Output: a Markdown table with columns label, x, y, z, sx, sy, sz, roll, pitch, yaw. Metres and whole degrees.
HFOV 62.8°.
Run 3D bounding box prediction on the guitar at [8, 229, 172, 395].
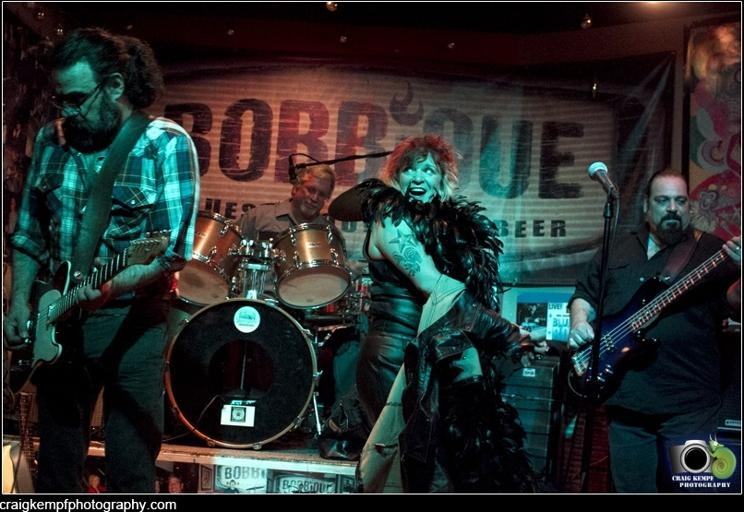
| label | x | y | z | sx | sy | sz | roll | pitch | yaw |
| --- | --- | --- | --- | --- | --- | --- | --- | --- | --- |
| guitar | -1.434 | 0.276 | 3.093 | 0.861 | 0.863 | 0.233 | 2 | 0 | 22 |

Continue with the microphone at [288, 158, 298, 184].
| label | x | y | z | sx | sy | sz | roll | pitch | yaw |
| --- | --- | --- | --- | --- | --- | --- | --- | --- | --- |
| microphone | -0.613 | -0.690 | 4.761 | 0.079 | 0.220 | 0.307 | 2 | -1 | -8 |

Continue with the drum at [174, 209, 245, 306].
| label | x | y | z | sx | sy | sz | roll | pitch | yaw |
| --- | --- | --- | --- | --- | --- | --- | --- | --- | --- |
| drum | -1.045 | 0.022 | 3.917 | 0.468 | 0.434 | 0.405 | 17 | 47 | 12 |

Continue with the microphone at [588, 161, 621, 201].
| label | x | y | z | sx | sy | sz | roll | pitch | yaw |
| --- | --- | --- | --- | --- | --- | --- | --- | --- | --- |
| microphone | 1.377 | -0.438 | 3.540 | 0.152 | 0.203 | 0.205 | 2 | -1 | 38 |

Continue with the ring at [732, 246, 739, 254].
| label | x | y | z | sx | sy | sz | roll | pitch | yaw |
| --- | --- | --- | --- | --- | --- | --- | --- | --- | --- |
| ring | 2.093 | -0.045 | 3.483 | 0.008 | 0.026 | 0.028 | 1 | 35 | -32 |
